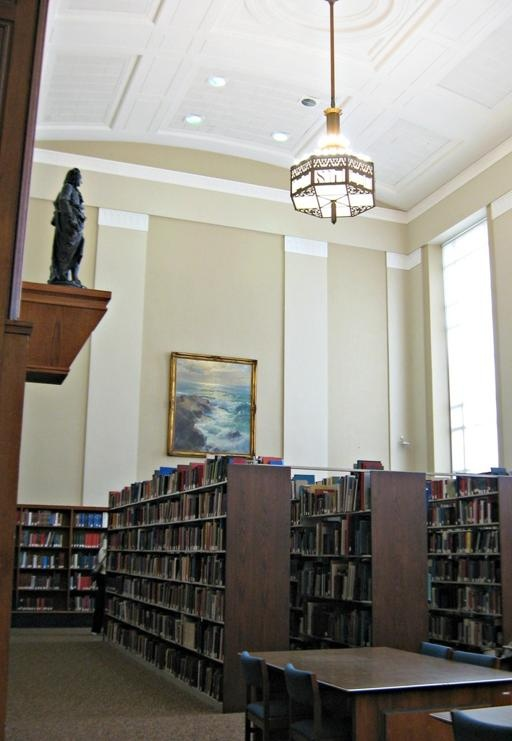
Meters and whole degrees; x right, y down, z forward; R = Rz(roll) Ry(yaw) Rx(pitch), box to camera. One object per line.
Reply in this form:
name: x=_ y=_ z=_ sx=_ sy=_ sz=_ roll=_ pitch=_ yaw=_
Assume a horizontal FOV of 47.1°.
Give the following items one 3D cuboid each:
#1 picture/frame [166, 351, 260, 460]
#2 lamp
picture/frame: x=-0.901 y=0.728 z=11.278 sx=1.659 sy=2.169 sz=0.149 roll=5 pitch=-13 yaw=-21
lamp: x=0.857 y=-2.209 z=6.507 sx=0.927 sy=1.134 sz=0.778 roll=0 pitch=-11 yaw=8
